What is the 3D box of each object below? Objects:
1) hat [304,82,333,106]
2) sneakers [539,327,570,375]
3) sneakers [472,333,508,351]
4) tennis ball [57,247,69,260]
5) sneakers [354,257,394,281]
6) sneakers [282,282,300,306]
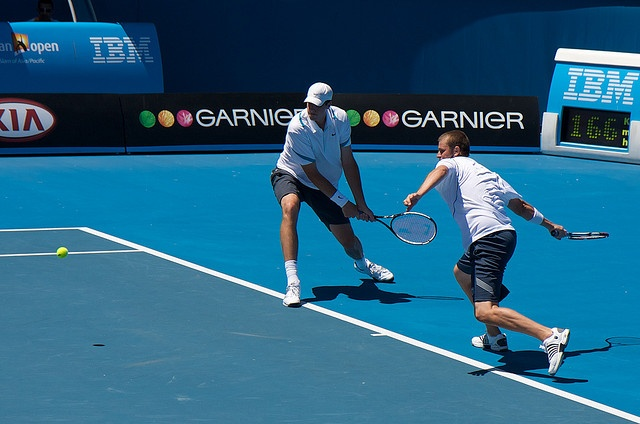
[{"bbox_3d":[0.017,-1.390,8.034,0.253,0.190,0.361,7,10,22],"label":"hat"},{"bbox_3d":[2.219,1.258,6.447,0.256,0.503,0.186,7,31,10],"label":"sneakers"},{"bbox_3d":[1.798,1.355,7.189,0.368,0.169,0.166,7,3,34],"label":"sneakers"},{"bbox_3d":[-3.474,0.545,9.246,0.145,0.138,0.158,9,43,-8],"label":"tennis ball"},{"bbox_3d":[0.697,0.763,8.853,0.624,0.215,0.259,22,-11,5],"label":"sneakers"},{"bbox_3d":[-0.325,0.959,8.024,0.211,0.269,0.300,0,18,-3],"label":"sneakers"}]
